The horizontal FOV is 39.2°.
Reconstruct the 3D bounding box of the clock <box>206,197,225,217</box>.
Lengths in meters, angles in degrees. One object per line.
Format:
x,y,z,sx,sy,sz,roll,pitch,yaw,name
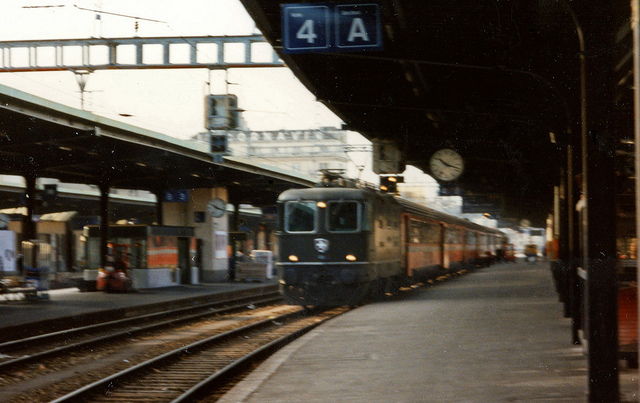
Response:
-4.576,0.285,39.749,0.842,0.824,0.462,-2,-5,6,clock
